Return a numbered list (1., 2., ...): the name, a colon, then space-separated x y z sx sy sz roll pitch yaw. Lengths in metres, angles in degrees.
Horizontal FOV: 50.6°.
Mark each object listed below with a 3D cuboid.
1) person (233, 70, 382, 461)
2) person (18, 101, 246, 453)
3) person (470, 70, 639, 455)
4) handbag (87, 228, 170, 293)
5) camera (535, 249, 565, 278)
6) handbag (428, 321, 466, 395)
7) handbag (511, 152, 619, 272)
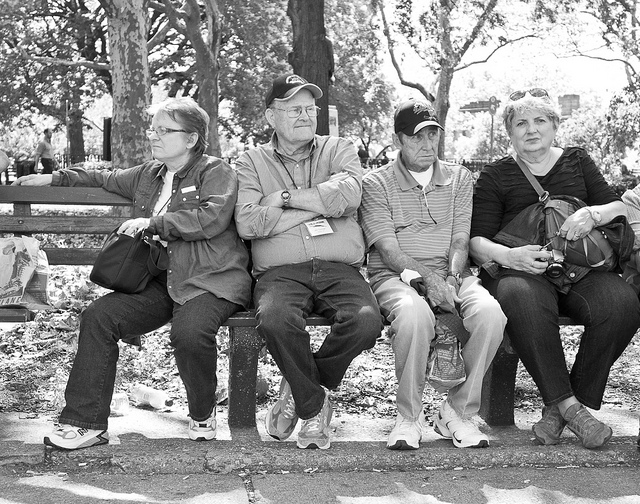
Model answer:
1. person: -0.083 0.006 4.007 0.819 2.070 1.041 -1 12 -7
2. person: -0.977 0.094 4.114 1.053 1.971 1.242 -1 12 -7
3. person: 1.438 0.029 4.179 0.996 2.056 1.146 3 12 11
4. handbag: -1.115 0.061 3.989 0.404 0.394 0.278 13 -8 14
5. camera: 1.395 0.076 4.076 0.167 0.161 0.127 2 7 1
6. handbag: 0.736 0.605 3.878 0.263 0.328 0.118 7 -10 -42
7. handbag: 1.516 -0.150 4.150 0.335 0.571 0.202 -36 -5 5
